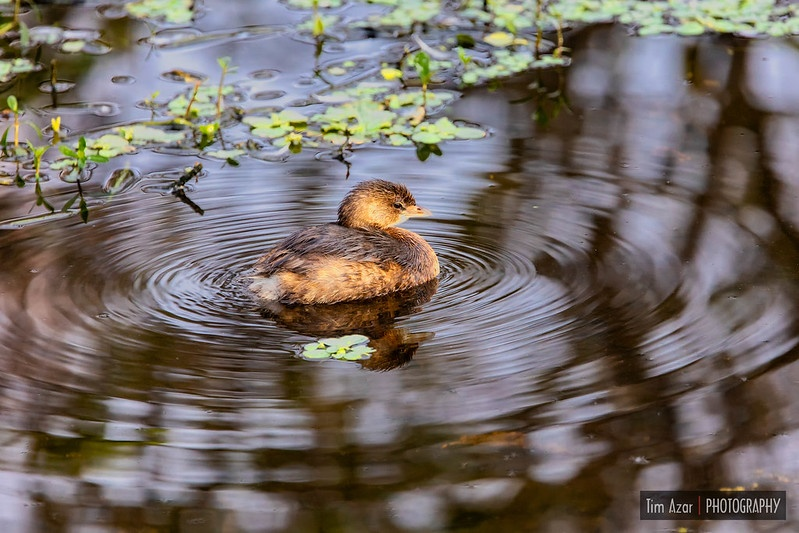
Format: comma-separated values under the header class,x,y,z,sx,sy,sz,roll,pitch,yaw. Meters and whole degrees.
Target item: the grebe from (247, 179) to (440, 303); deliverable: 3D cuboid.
class,x,y,z,sx,sy,sz,roll,pitch,yaw
grebe,-0.686,-0.233,6.645,1.883,0.813,1.068,-14,35,-34
